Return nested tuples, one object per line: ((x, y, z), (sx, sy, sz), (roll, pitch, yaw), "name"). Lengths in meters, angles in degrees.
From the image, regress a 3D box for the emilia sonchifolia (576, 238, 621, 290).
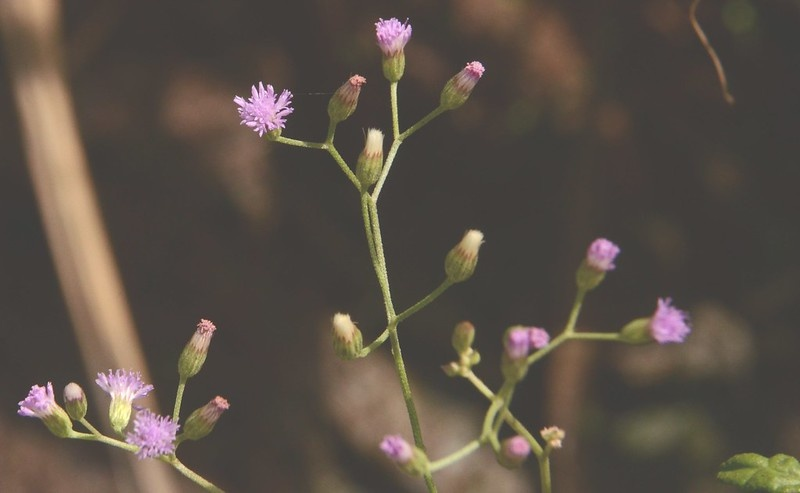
((0.399, 0.035, 1.956), (0.069, 0.131, 0.068), (33, 9, 12), "emilia sonchifolia")

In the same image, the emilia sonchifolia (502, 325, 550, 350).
((0.257, 0.179, 1.882), (0.065, 0.037, 0.046), (2, 2, -16), "emilia sonchifolia")

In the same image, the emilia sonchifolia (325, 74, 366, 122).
((-0.121, -0.301, 1.960), (0.048, 0.051, 0.136), (-40, -14, -42), "emilia sonchifolia")

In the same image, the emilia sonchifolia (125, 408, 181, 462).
((-0.487, 0.352, 1.861), (0.090, 0.102, 0.055), (10, -14, -18), "emilia sonchifolia")

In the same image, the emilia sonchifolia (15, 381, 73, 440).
((-0.721, 0.329, 1.919), (0.094, 0.107, 0.080), (2, 6, 38), "emilia sonchifolia")

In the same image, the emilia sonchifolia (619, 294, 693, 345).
((0.530, 0.146, 1.928), (0.123, 0.087, 0.167), (1, 7, 37), "emilia sonchifolia")

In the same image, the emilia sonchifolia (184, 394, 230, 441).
((-0.399, 0.339, 1.928), (0.058, 0.055, 0.136), (14, -45, -36), "emilia sonchifolia")

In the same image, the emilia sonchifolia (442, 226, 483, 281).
((0.127, 0.020, 1.894), (0.066, 0.101, 0.037), (-5, 5, -27), "emilia sonchifolia")

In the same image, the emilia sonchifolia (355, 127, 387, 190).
((-0.064, -0.168, 1.935), (0.044, 0.142, 0.043), (11, -2, 26), "emilia sonchifolia")

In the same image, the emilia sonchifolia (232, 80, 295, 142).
((-0.278, -0.279, 1.949), (0.079, 0.108, 0.111), (3, 7, 45), "emilia sonchifolia")

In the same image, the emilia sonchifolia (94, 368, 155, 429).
((-0.567, 0.313, 1.946), (0.095, 0.123, 0.097), (2, -1, 32), "emilia sonchifolia")

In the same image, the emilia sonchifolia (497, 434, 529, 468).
((0.221, 0.393, 1.843), (0.060, 0.058, 0.030), (-2, 5, 6), "emilia sonchifolia")

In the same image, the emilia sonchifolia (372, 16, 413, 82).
((-0.016, -0.406, 1.993), (0.068, 0.133, 0.077), (-3, 5, -9), "emilia sonchifolia")

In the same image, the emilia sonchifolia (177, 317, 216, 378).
((-0.420, 0.212, 1.963), (0.061, 0.119, 0.082), (1, 6, 30), "emilia sonchifolia")

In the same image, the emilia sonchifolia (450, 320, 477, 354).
((0.127, 0.178, 1.885), (0.039, 0.065, 0.047), (-1, 5, 11), "emilia sonchifolia")

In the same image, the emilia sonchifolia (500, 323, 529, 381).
((0.228, 0.200, 1.861), (0.052, 0.116, 0.048), (-6, 6, 40), "emilia sonchifolia")
